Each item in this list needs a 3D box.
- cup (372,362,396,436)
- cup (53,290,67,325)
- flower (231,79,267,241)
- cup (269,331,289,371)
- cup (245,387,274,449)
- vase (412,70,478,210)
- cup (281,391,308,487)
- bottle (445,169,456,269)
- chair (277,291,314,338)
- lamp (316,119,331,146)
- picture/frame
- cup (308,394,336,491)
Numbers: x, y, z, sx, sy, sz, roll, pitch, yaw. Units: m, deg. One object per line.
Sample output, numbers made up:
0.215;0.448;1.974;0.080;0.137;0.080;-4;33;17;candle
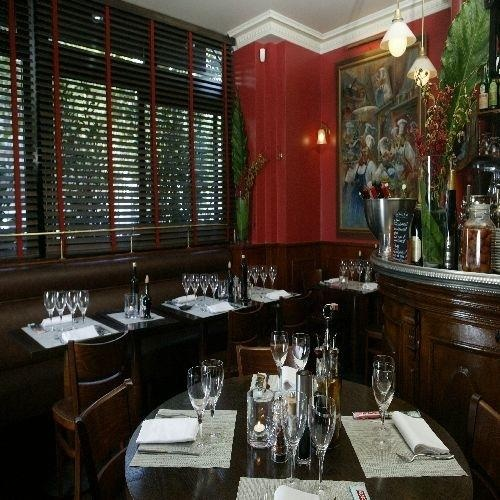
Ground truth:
0.455;0.496;1.524;0.059;0.320;0.074;2;15;18;cup
-1.356;0.394;3.194;0.074;0.256;0.485;-1;4;-24;cup
-0.037;-1.034;5.610;0.361;1.871;0.330;0;2;0;flower
0.121;0.431;1.859;0.066;0.184;0.216;0;4;3;cup
0.035;0.544;1.468;0.079;0.190;0.092;6;15;28;cup
0.988;-0.616;2.287;0.212;0.582;0.250;2;33;26;vase
0.132;0.531;1.355;0.082;0.245;0.190;0;3;4;cup
0.938;-0.104;2.090;0.048;0.370;0.103;1;3;26;bottle
0.386;0.560;3.919;0.249;0.551;0.287;-4;9;-28;chair
0.961;-1.565;5.910;0.175;0.339;0.198;2;4;32;lamp
1.539;-1.306;5.343;0.975;2.592;0.048;-2;-25;21;picture/frame
0.205;0.535;1.292;0.075;0.243;0.216;0;3;8;cup
